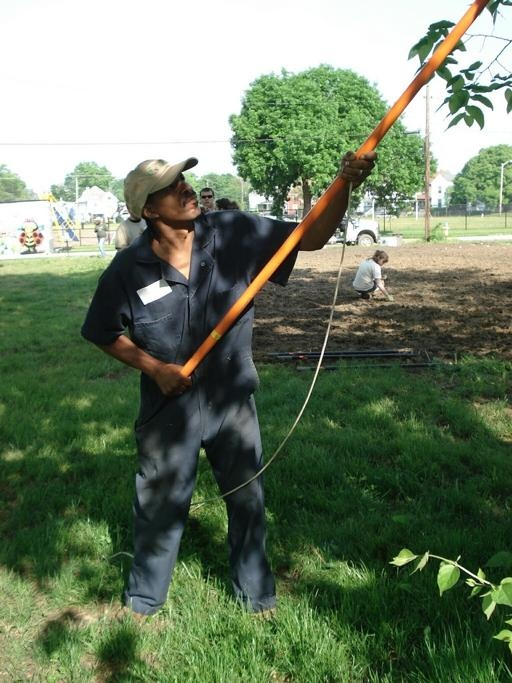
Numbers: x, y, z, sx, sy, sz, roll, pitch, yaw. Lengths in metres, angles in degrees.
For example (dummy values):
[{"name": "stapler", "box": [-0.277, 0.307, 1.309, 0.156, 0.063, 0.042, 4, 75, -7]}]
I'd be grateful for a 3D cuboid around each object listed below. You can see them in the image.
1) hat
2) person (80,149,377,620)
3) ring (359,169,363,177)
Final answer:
[{"name": "hat", "box": [-0.370, -0.610, 2.144, 0.288, 0.209, 0.179, -4, 13, -6]}, {"name": "person", "box": [-0.268, 0.207, 2.271, 0.801, 1.865, 0.394, -7, 14, -16]}, {"name": "ring", "box": [0.369, -0.600, 1.937, 0.014, 0.018, 0.040, 0, 13, 12]}]
